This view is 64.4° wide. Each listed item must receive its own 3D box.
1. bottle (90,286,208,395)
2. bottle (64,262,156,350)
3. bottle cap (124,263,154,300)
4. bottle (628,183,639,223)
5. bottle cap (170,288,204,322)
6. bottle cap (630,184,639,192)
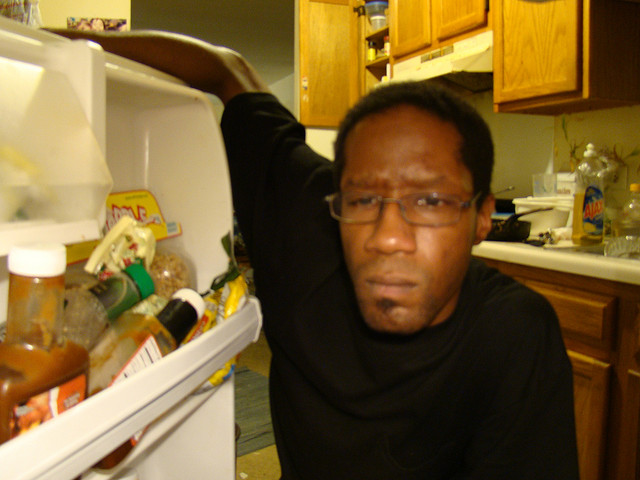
[{"bbox_3d":[-0.245,0.144,0.711,0.046,0.065,0.161,5,26,28],"label":"bottle"},{"bbox_3d":[-0.299,0.095,0.710,0.043,0.044,0.115,-35,8,46],"label":"bottle"},{"bbox_3d":[-0.274,0.057,0.791,0.033,0.046,0.045,-33,43,-3],"label":"bottle cap"},{"bbox_3d":[1.181,-0.143,1.902,0.040,0.134,0.252,4,8,32],"label":"bottle"},{"bbox_3d":[-0.202,0.097,0.820,0.046,0.044,0.048,29,-4,28],"label":"bottle cap"},{"bbox_3d":[1.115,-0.187,1.794,0.022,0.017,0.023,-1,8,17],"label":"bottle cap"}]
